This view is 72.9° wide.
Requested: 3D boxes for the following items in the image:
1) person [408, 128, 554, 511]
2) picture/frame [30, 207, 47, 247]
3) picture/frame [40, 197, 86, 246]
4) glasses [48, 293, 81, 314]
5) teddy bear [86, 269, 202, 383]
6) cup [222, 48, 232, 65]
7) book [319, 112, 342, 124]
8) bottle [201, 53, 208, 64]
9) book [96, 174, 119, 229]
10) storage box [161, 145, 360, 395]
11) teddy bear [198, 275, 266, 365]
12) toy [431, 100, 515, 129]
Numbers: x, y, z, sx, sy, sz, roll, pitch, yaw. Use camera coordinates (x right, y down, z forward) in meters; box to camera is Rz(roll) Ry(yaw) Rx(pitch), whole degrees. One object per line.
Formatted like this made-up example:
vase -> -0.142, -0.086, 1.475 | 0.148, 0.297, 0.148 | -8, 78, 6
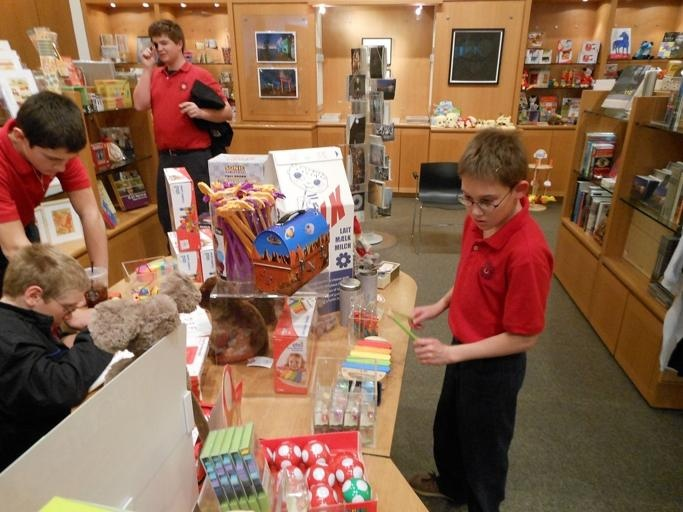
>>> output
person -> 0.582, 0.462, 2.026 | 0.481, 1.930, 0.534 | 9, 26, 21
picture/frame -> -1.955, -0.207, 2.983 | 0.021, 0.333, 0.267 | -14, 22, -38
picture/frame -> -2.058, -0.258, 3.395 | 0.031, 0.344, 0.331 | -1, 18, 35
glasses -> -1.047, 0.182, 1.764 | 0.074, 0.027, 0.076 | 10, 24, 11
teddy bear -> -0.616, 0.189, 1.366 | 0.354, 0.256, 0.149 | -24, 1, 2
cup -> -1.646, -2.901, 6.641 | 0.185, 0.233, 0.192 | 2, 27, -1
book -> -0.163, -2.021, 6.773 | 0.266, 0.072, 0.281 | -2, 25, -1
bottle -> -1.990, -2.891, 6.695 | 0.095, 0.153, 0.074 | 19, 28, 33
book -> -2.003, -0.430, 3.941 | 0.088, 0.391, 0.352 | -16, -14, -11
storage box -> -0.375, -0.009, 2.349 | 0.858, 0.910, 0.616 | -14, 21, -24
teddy bear -> -0.453, 0.271, 2.047 | 0.290, 0.386, 0.246 | 6, 31, -5
toy -> 1.809, -1.987, 6.467 | 1.127, 0.324, 0.632 | 5, 26, 13
